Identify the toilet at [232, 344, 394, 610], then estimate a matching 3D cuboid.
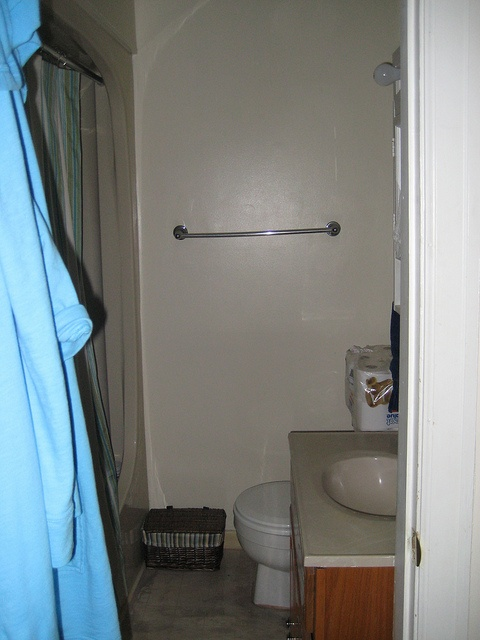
[{"bbox_3d":[0.113,0.528,1.852,0.351,0.815,0.290,-2,9,25],"label":"toilet"}]
